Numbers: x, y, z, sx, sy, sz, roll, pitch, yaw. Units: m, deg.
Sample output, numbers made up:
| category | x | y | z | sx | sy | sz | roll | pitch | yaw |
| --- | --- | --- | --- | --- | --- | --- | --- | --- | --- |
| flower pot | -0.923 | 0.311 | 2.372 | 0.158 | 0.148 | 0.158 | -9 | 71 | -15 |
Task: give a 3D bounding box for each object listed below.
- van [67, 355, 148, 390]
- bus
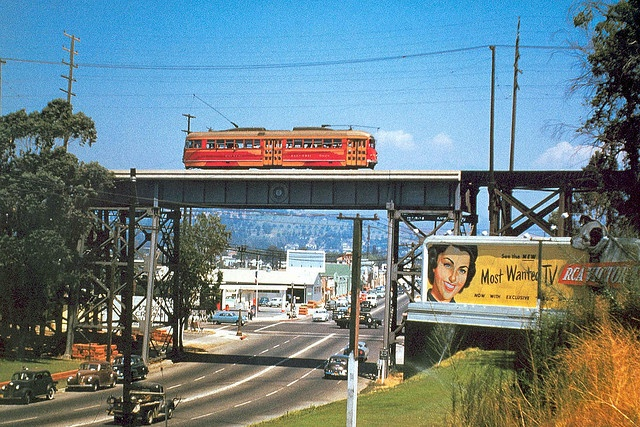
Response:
| category | x | y | z | sx | sy | sz | roll | pitch | yaw |
| --- | --- | --- | --- | --- | --- | --- | --- | --- | --- |
| van | -17.162 | 12.835 | 71.116 | 2.352 | 2.304 | 7.077 | -10 | -5 | 28 |
| bus | -3.674 | -5.664 | 78.694 | 16.336 | 4.117 | 1.118 | -2 | -5 | 8 |
